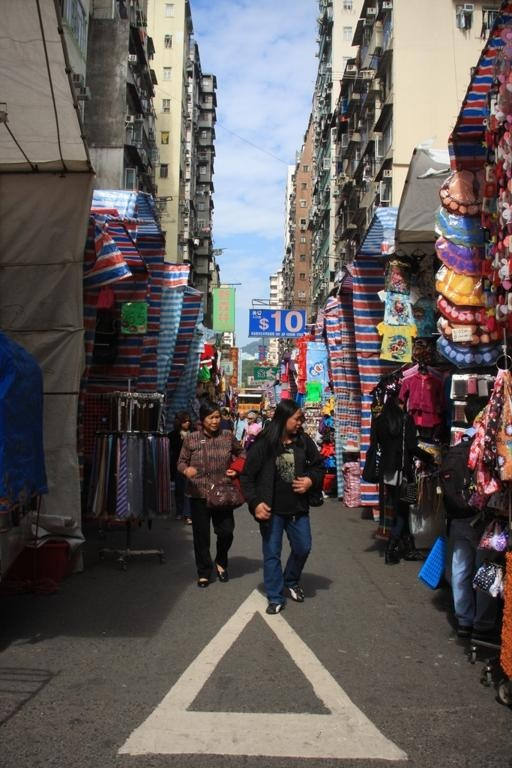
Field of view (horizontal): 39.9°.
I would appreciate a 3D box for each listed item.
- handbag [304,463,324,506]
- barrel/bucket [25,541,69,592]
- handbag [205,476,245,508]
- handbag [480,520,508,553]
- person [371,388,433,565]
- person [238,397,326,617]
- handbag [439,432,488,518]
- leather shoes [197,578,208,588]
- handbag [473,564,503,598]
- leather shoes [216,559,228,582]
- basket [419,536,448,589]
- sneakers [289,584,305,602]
[{"bbox_3d":[0.488,0.868,5.961,0.222,0.330,0.255,0,2,-9],"label":"handbag"},{"bbox_3d":[-1.716,1.491,5.852,0.309,0.378,0.518,2,-6,-9],"label":"barrel/bucket"},{"bbox_3d":[-0.301,1.070,6.703,0.389,0.393,0.215,6,-14,-27],"label":"handbag"},{"bbox_3d":[1.356,0.862,3.992,0.087,0.161,0.280,1,-6,-6],"label":"handbag"},{"bbox_3d":[1.575,0.967,7.989,0.730,2.028,1.284,0,-6,8],"label":"person"},{"bbox_3d":[0.221,0.975,5.839,0.664,1.662,0.451,5,-8,-39],"label":"person"},{"bbox_3d":[1.275,0.587,4.522,0.181,0.399,0.262,-5,6,6],"label":"handbag"},{"bbox_3d":[-0.486,1.832,6.529,0.098,0.070,0.167,1,-6,-5],"label":"leather shoes"},{"bbox_3d":[1.293,1.085,3.918,0.137,0.161,0.258,0,-6,7],"label":"handbag"},{"bbox_3d":[-0.336,1.813,6.876,0.163,0.148,0.488,2,-4,2],"label":"leather shoes"},{"bbox_3d":[1.340,1.368,5.345,0.092,0.365,0.251,20,12,-9],"label":"basket"},{"bbox_3d":[0.341,1.768,5.946,0.064,0.081,0.174,2,3,0],"label":"sneakers"}]
